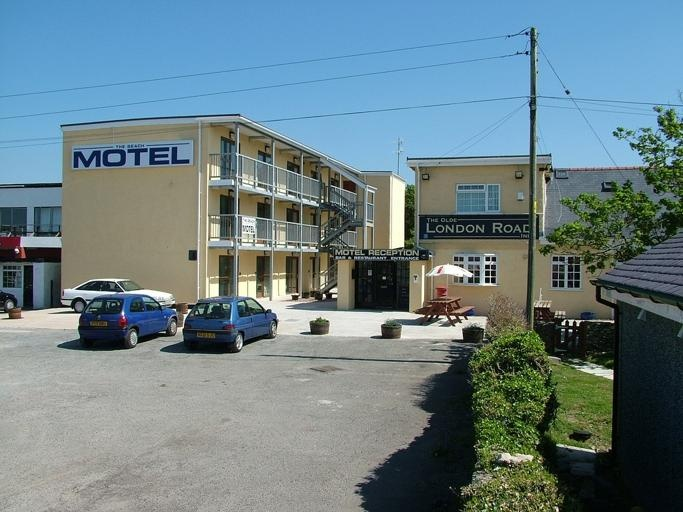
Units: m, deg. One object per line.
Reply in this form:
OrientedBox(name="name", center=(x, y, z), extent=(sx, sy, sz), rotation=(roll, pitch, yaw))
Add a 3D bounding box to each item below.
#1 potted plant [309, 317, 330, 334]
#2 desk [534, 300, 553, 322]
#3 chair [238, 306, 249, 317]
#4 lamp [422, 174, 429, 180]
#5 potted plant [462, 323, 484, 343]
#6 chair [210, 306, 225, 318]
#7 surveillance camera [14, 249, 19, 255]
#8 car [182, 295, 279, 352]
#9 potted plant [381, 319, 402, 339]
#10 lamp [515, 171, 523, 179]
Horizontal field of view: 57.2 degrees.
OrientedBox(name="potted plant", center=(-0.822, 2.672, 23.790), extent=(0.716, 0.565, 0.610), rotation=(0, 5, -4))
OrientedBox(name="desk", center=(7.941, 2.277, 24.570), extent=(0.751, 0.341, 1.440), rotation=(-1, 1, 16))
OrientedBox(name="chair", center=(-3.275, 1.832, 20.887), extent=(0.377, 0.329, 0.577), rotation=(2, -18, -8))
OrientedBox(name="lamp", center=(4.055, -3.774, 30.282), extent=(0.391, 0.363, 0.208), rotation=(0, -1, 7))
OrientedBox(name="potted plant", center=(4.590, 2.685, 21.893), extent=(0.612, 0.412, 0.617), rotation=(0, -1, -1))
OrientedBox(name="chair", center=(-3.897, 1.779, 19.993), extent=(0.294, 0.250, 0.487), rotation=(2, 8, 6))
OrientedBox(name="surveillance camera", center=(-17.633, -0.221, 34.148), extent=(0.227, 0.382, 0.203), rotation=(-3, 6, -31))
OrientedBox(name="car", center=(-3.565, 2.216, 21.198), extent=(1.439, 1.164, 2.929), rotation=(1, 4, 22))
OrientedBox(name="potted plant", center=(1.779, 2.684, 22.994), extent=(0.609, 0.539, 0.623), rotation=(0, 0, 39))
OrientedBox(name="lamp", center=(8.318, -3.792, 29.358), extent=(0.328, 0.344, 0.173), rotation=(1, 2, 24))
